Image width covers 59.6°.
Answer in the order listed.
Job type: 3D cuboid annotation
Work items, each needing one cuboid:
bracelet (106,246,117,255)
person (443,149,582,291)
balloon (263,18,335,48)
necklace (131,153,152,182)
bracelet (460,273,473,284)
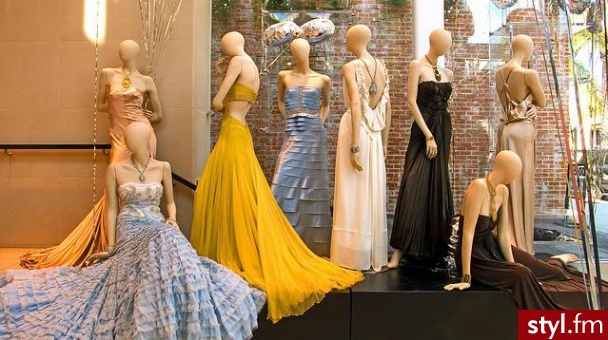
[{"bbox_3d":[-2.039,0.853,5.629,0.070,0.097,0.040,14,-26,-20],"label":"bracelet"},{"bbox_3d":[2.240,0.544,5.562,1.608,1.398,1.038,3,0,-2],"label":"person"},{"bbox_3d":[-0.072,-1.875,7.254,0.892,0.314,0.396,-8,-4,4],"label":"balloon"},{"bbox_3d":[-1.789,-0.018,5.827,0.295,0.378,0.029,-1,0,-11],"label":"necklace"},{"bbox_3d":[1.708,1.142,5.598,0.078,0.077,0.100,3,-11,-9],"label":"bracelet"}]
